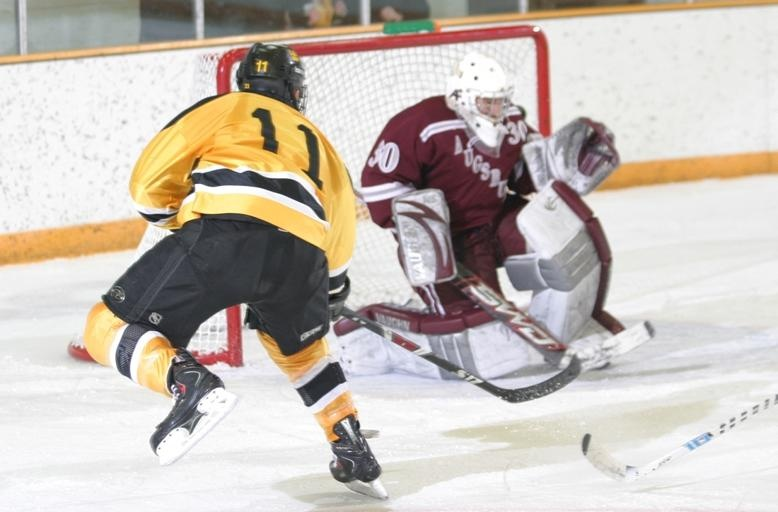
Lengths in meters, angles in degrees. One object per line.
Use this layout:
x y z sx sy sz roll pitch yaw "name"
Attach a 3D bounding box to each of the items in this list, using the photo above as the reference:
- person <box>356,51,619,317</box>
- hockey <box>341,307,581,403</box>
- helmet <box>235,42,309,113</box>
0.408 -0.317 4.578 1.141 1.093 0.847 -31 48 -29 "person"
0.245 0.485 4.201 1.174 0.030 0.414 19 30 26 "hockey"
-0.450 -0.716 3.691 0.231 0.247 0.291 4 10 6 "helmet"
